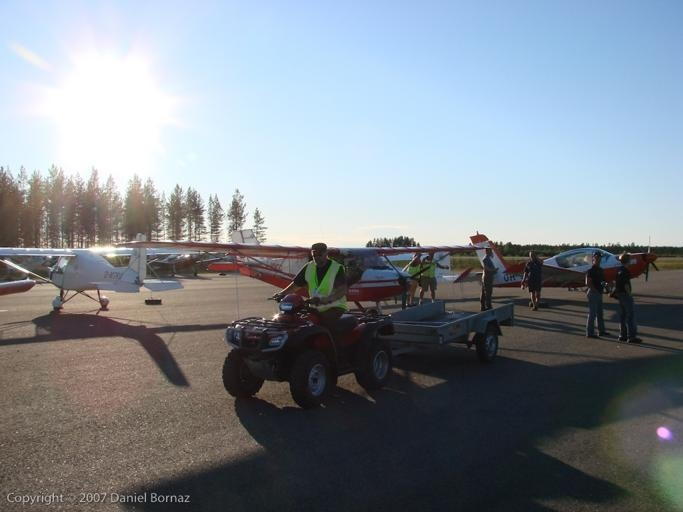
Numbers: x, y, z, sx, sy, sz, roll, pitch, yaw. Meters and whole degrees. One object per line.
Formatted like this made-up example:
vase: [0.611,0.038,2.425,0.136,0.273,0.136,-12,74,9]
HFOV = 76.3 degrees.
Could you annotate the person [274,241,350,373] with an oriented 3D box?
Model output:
person: [-0.352,0.720,6.359,0.979,1.719,1.046,-3,0,24]

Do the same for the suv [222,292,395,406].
suv: [-0.410,1.381,6.892,1.538,1.546,2.661,-5,-7,36]

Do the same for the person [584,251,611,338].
person: [6.080,0.976,10.408,0.630,1.941,0.394,-5,6,-44]

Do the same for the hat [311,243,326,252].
hat: [-0.327,-0.113,5.992,0.265,0.119,0.368,0,-4,3]
